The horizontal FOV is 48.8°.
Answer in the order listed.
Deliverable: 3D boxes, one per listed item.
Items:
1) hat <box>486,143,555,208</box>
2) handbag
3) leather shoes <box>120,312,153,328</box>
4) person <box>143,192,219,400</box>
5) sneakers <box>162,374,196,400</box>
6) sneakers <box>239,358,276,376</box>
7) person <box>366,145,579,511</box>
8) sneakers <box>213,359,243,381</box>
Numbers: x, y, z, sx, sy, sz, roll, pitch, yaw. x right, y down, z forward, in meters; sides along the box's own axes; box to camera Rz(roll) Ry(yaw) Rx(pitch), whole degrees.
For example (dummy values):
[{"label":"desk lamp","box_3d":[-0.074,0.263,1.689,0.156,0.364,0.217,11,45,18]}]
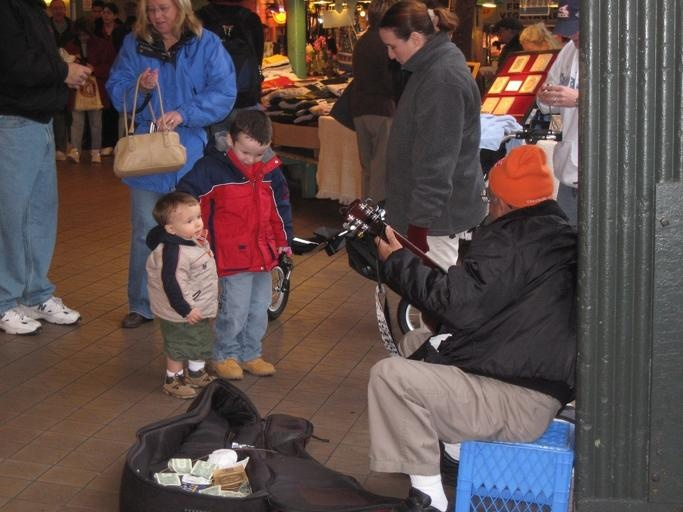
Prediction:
[{"label":"hat","box_3d":[0.816,-0.341,3.330,0.304,0.230,0.356,3,9,-3]},{"label":"handbag","box_3d":[-1.215,-0.760,4.703,0.436,0.645,0.341,-4,24,-10]},{"label":"leather shoes","box_3d":[-1.478,0.466,5.379,0.097,0.071,0.220,9,5,33]},{"label":"person","box_3d":[-0.915,0.241,4.245,0.385,1.182,0.311,4,24,9]},{"label":"sneakers","box_3d":[-0.950,0.756,4.388,0.246,0.097,0.095,12,20,23]},{"label":"sneakers","box_3d":[-0.512,0.691,4.666,0.247,0.083,0.087,3,14,19]},{"label":"person","box_3d":[0.580,0.386,3.226,0.836,1.579,0.922,4,23,10]},{"label":"sneakers","box_3d":[-0.685,0.692,4.552,0.207,0.071,0.100,5,15,42]}]
